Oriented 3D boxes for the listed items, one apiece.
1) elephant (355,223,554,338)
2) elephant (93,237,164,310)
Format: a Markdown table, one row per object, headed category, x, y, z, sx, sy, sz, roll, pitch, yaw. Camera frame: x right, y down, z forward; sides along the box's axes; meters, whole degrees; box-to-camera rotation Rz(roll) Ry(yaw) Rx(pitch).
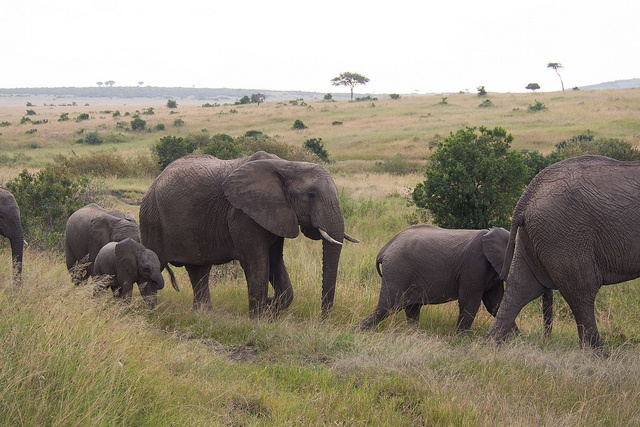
| category | x | y | z | sx | sy | sz | roll | pitch | yaw |
| --- | --- | --- | --- | --- | --- | --- | --- | --- | --- |
| elephant | 2.324 | 1.127 | 11.661 | 3.306 | 1.852 | 1.088 | -1 | 7 | 9 |
| elephant | -3.123 | 0.987 | 11.542 | 1.390 | 1.135 | 0.761 | 4 | 4 | 22 |
